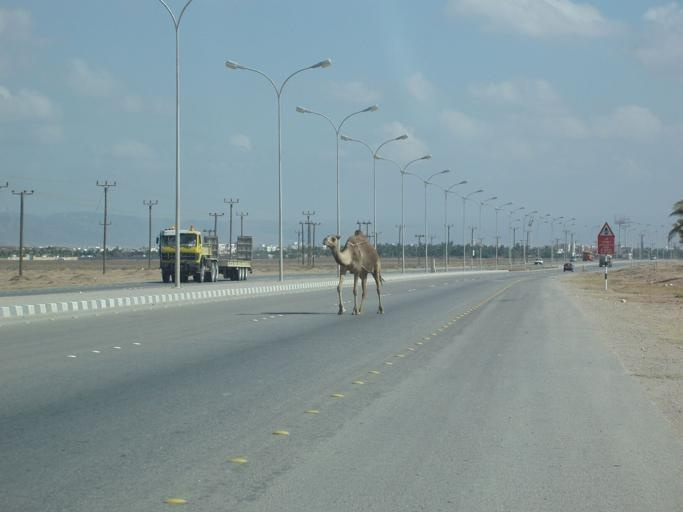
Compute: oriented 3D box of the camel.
[{"bbox_3d":[0.302,0.274,25.961,1.422,3.220,1.775,2,5,15],"label":"camel"}]
